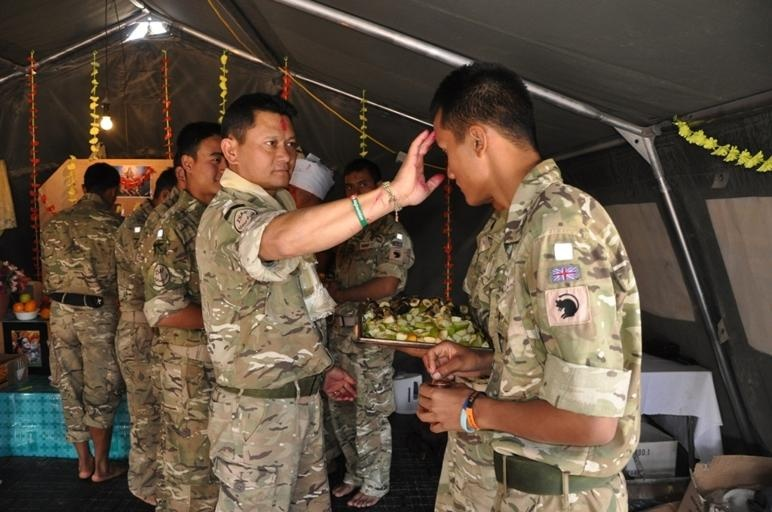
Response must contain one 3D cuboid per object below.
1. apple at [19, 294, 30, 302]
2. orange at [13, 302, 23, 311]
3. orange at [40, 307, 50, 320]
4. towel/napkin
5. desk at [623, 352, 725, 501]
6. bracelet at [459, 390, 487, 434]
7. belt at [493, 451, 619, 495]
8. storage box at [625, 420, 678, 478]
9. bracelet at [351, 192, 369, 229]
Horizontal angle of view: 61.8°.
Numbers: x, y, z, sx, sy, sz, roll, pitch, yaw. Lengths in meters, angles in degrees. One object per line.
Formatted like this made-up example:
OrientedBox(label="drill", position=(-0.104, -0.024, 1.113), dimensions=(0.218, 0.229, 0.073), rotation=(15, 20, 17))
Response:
OrientedBox(label="apple", position=(-3.445, 0.400, 6.158), dimensions=(0.083, 0.070, 0.077), rotation=(2, 15, 7))
OrientedBox(label="orange", position=(-3.452, 0.476, 6.063), dimensions=(0.086, 0.071, 0.081), rotation=(-1, 3, -23))
OrientedBox(label="orange", position=(-3.248, 0.552, 6.148), dimensions=(0.102, 0.091, 0.096), rotation=(10, -15, -21))
OrientedBox(label="towel/napkin", position=(-0.576, 0.003, 3.495), dimensions=(0.281, 0.668, 0.839), rotation=(-21, -45, -7))
OrientedBox(label="desk", position=(2.062, 1.299, 5.130), dimensions=(0.963, 0.826, 0.955), rotation=(1, -3, 15))
OrientedBox(label="bracelet", position=(0.411, 0.736, 3.075), dimensions=(0.138, 0.128, 0.127), rotation=(-35, -31, 10))
OrientedBox(label="belt", position=(0.728, 1.023, 3.027), dimensions=(0.361, 0.092, 0.251), rotation=(2, -3, 0))
OrientedBox(label="storage box", position=(1.998, 1.516, 5.082), dimensions=(0.553, 0.307, 0.505), rotation=(0, 4, -2))
OrientedBox(label="bracelet", position=(-0.116, -0.218, 3.206), dimensions=(0.036, 0.134, 0.139), rotation=(-25, 32, -12))
